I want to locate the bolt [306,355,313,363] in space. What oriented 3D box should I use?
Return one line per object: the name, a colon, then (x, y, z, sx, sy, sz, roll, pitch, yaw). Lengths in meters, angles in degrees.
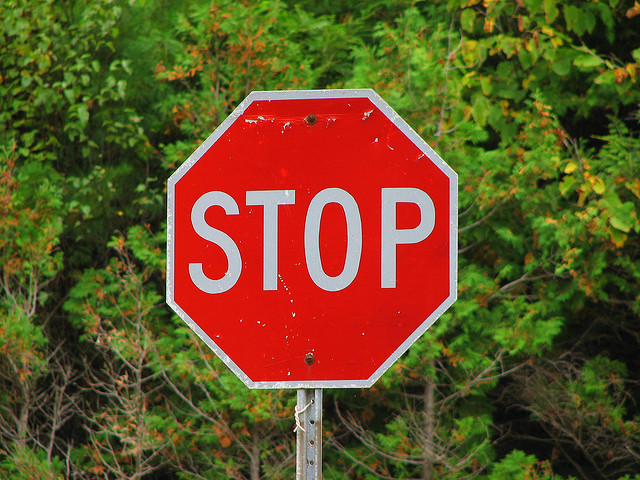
bolt: (-0.098, 0.984, 14.513, 0.052, 0.002, 0.063, 1, 84, 1)
